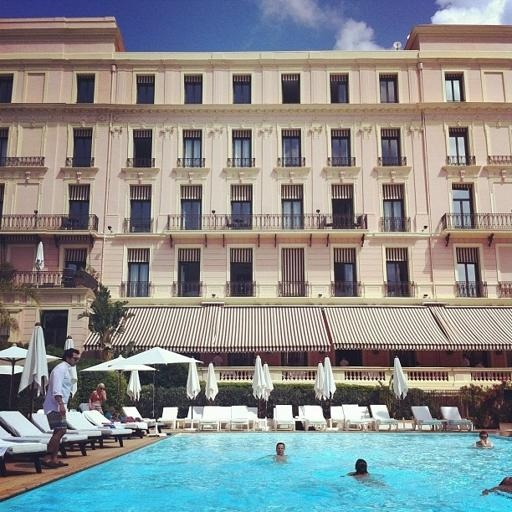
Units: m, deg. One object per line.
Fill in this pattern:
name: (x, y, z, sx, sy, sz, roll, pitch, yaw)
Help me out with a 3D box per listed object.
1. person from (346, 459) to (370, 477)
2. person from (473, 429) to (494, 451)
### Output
person: (2.411, 5.072, 15.578, 0.468, 0.388, 0.749, 4, -11, -35)
person: (7.118, 5.631, 20.285, 0.697, 0.800, 0.683, -2, -26, 11)
